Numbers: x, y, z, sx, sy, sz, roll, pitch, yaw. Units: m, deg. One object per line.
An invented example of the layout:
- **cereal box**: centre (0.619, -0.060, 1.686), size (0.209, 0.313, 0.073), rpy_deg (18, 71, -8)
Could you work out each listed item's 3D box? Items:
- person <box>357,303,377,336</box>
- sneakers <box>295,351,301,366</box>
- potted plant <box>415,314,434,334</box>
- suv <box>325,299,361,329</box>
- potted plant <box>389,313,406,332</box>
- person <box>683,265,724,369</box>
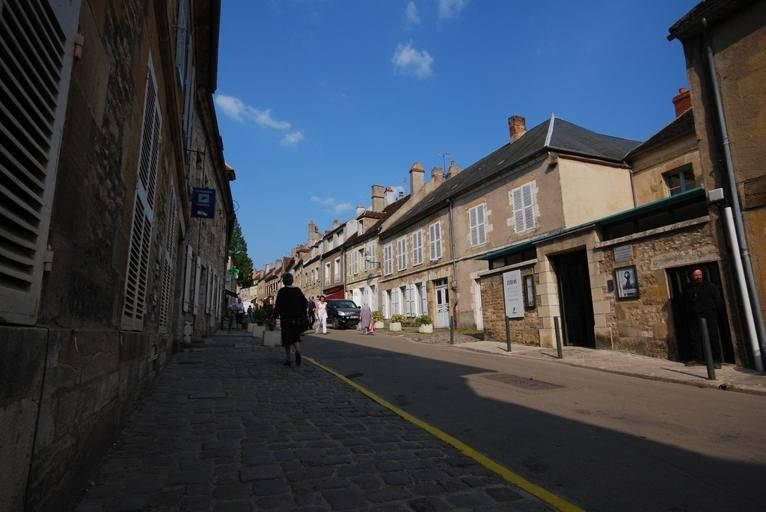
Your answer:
- **person**: centre (-0.748, 2.973, 21.465), size (0.571, 1.431, 2.129), rpy_deg (1, -1, -5)
- **sneakers**: centre (-1.799, 2.190, 9.577), size (0.129, 0.344, 0.140), rpy_deg (-1, 13, -19)
- **potted plant**: centre (1.983, 3.221, 21.740), size (0.681, 0.887, 0.825), rpy_deg (-1, -8, 9)
- **suv**: centre (-2.366, 3.297, 25.897), size (1.239, 1.050, 2.152), rpy_deg (4, -15, -25)
- **potted plant**: centre (0.871, 3.605, 24.629), size (0.956, 0.995, 0.749), rpy_deg (5, -11, -25)
- **person**: centre (6.819, 1.261, 9.507), size (0.670, 2.039, 0.680), rpy_deg (1, -1, 17)
